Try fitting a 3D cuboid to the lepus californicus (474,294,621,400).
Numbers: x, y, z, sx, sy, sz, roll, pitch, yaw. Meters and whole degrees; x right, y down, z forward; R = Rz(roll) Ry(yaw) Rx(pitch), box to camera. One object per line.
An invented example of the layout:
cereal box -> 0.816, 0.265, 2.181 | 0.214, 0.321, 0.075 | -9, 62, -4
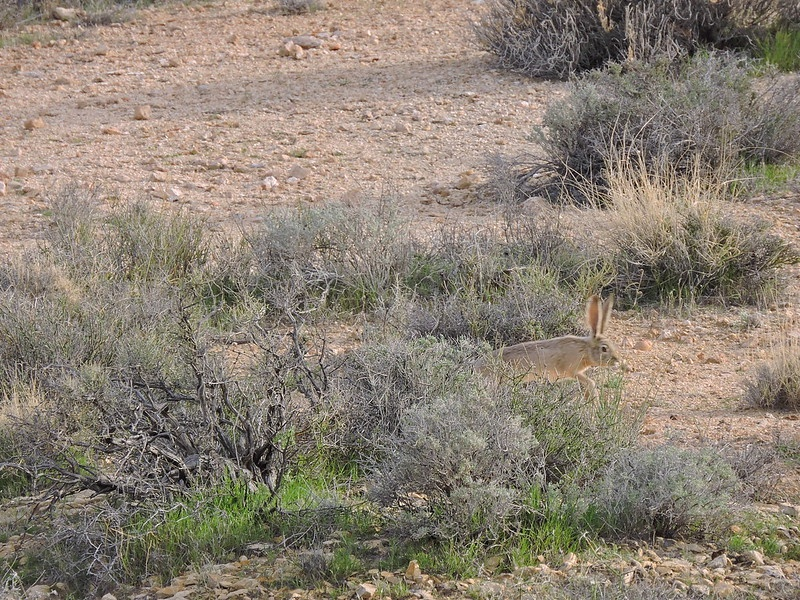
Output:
lepus californicus -> 1.320, 0.492, 9.926 | 1.190, 0.949, 0.304 | -7, 7, 34
